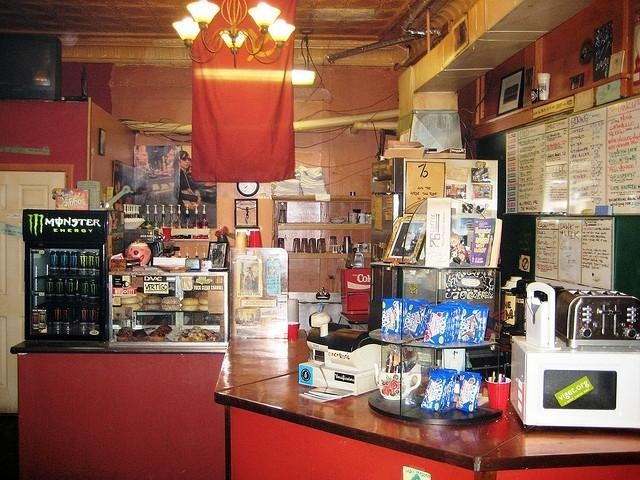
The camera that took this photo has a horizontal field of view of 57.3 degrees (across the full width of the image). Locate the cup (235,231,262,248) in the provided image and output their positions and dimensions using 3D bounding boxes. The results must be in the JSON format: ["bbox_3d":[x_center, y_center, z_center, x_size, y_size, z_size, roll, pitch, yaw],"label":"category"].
[{"bbox_3d":[-0.664,-0.006,5.450,0.238,0.181,0.135,-4,3,-8],"label":"cup"}]

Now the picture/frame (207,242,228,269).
[{"bbox_3d":[-0.917,0.146,5.277,0.221,0.305,0.033,1,-2,7],"label":"picture/frame"}]

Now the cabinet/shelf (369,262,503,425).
[{"bbox_3d":[0.756,0.697,3.742,0.742,0.819,0.748,12,-9,-28],"label":"cabinet/shelf"}]

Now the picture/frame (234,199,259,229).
[{"bbox_3d":[-1.115,-0.402,8.786,0.424,0.498,0.051,1,-1,-7],"label":"picture/frame"}]

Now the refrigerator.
[{"bbox_3d":[-2.264,0.327,5.228,0.670,1.127,0.381,1,1,-23],"label":"refrigerator"}]

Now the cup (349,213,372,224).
[{"bbox_3d":[0.590,-0.302,8.366,0.210,0.103,0.156,-1,2,-30],"label":"cup"}]

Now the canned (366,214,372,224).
[{"bbox_3d":[0.703,-0.287,8.355,0.104,0.117,0.106,0,2,-9],"label":"canned"}]

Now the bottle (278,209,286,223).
[{"bbox_3d":[-0.535,-0.340,8.357,0.146,0.219,0.143,0,1,0],"label":"bottle"}]

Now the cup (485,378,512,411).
[{"bbox_3d":[1.102,0.942,3.612,0.166,0.173,0.163,0,-5,0],"label":"cup"}]

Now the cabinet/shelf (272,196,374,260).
[{"bbox_3d":[0.077,-0.152,8.572,1.491,0.895,0.437,-1,5,-7],"label":"cabinet/shelf"}]

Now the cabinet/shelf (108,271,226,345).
[{"bbox_3d":[-1.312,0.669,5.517,1.123,0.776,0.601,-2,-15,6],"label":"cabinet/shelf"}]

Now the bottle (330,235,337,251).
[{"bbox_3d":[0.198,0.066,8.330,0.099,0.214,0.089,0,0,13],"label":"bottle"}]

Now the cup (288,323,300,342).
[{"bbox_3d":[-0.224,0.818,5.225,0.107,0.160,0.108,0,0,0],"label":"cup"}]

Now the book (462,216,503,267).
[{"bbox_3d":[1.033,0.017,3.704,0.228,0.310,0.148,0,0,12],"label":"book"}]
